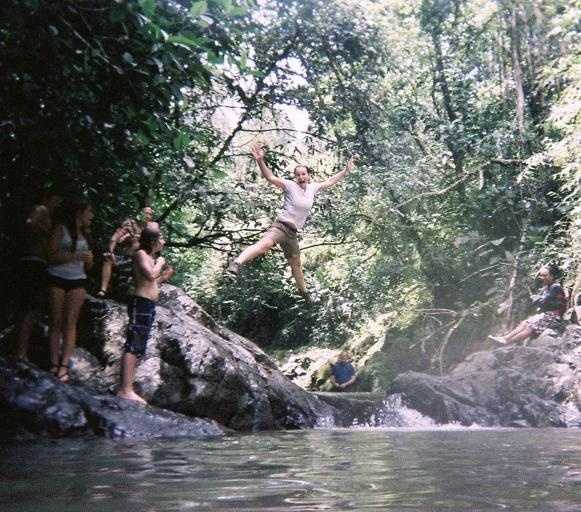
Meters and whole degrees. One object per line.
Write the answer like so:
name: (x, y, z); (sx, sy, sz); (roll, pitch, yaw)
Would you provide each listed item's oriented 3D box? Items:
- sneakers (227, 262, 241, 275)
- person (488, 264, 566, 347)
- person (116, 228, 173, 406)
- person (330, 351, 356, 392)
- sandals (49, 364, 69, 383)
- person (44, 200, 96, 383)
sneakers: (-0.644, 0.139, 6.761); (0.136, 0.161, 0.224); (5, -16, -9)
person: (4.733, 0.970, 11.930); (1.815, 1.413, 0.773); (-12, 5, -14)
person: (-1.579, 0.539, 6.464); (0.398, 2.068, 0.806); (8, -18, -14)
person: (1.139, 2.473, 12.928); (0.467, 0.826, 0.913); (2, -16, 3)
sandals: (-2.243, 1.137, 5.800); (0.247, 0.084, 0.124); (9, -9, 45)
person: (-2.316, 0.335, 6.099); (0.427, 1.819, 0.436); (9, -18, -17)
